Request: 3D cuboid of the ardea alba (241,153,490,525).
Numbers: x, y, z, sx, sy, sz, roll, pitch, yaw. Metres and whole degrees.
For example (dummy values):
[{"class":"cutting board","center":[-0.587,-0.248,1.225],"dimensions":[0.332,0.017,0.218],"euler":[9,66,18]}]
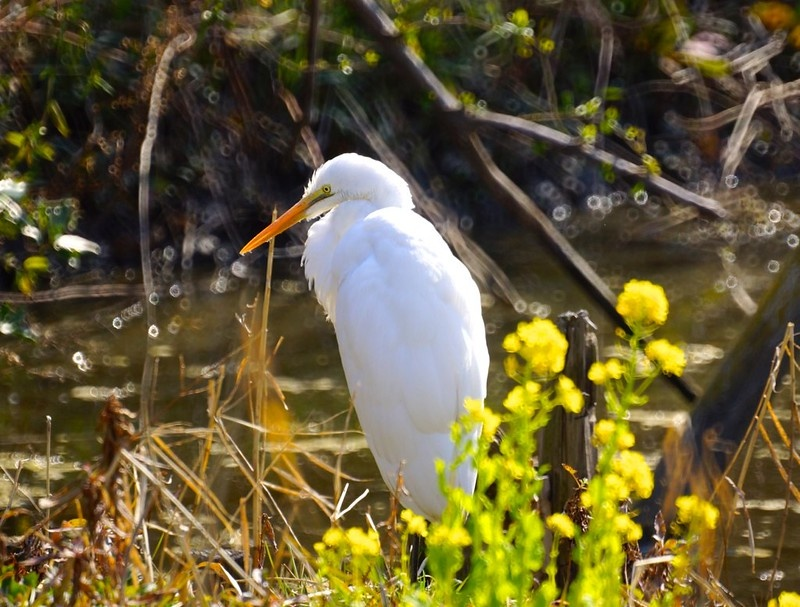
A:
[{"class":"ardea alba","center":[-0.033,0.115,5.007],"dimensions":[0.544,1.489,0.863],"euler":[-2,-1,-38]}]
